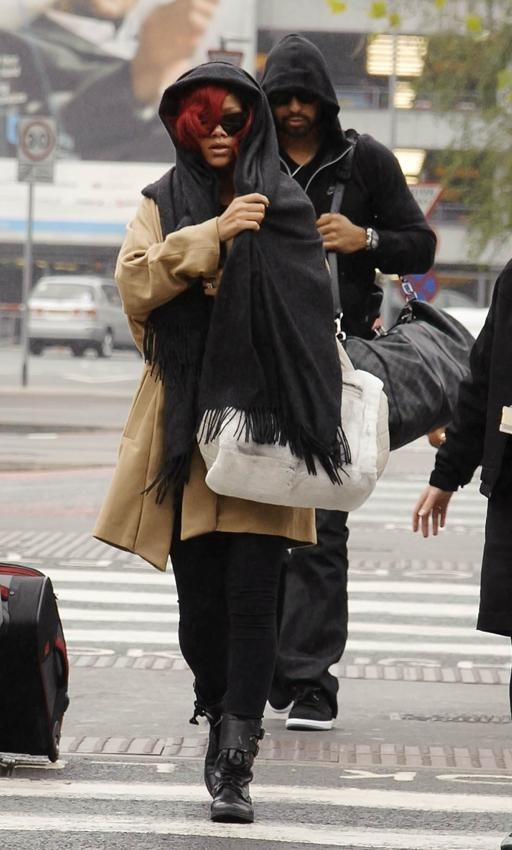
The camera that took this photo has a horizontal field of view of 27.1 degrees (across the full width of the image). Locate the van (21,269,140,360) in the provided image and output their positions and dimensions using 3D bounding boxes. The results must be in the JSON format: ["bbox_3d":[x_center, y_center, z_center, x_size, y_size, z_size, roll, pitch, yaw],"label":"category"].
[{"bbox_3d":[-1.922,-1.348,13.730,1.516,1.032,2.512,0,6,11],"label":"van"}]

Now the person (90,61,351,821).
[{"bbox_3d":[-0.066,0.008,2.514,0.589,1.733,0.383,0,-1,12],"label":"person"}]

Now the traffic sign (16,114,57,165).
[{"bbox_3d":[-2.288,-3.000,11.119,0.596,0.707,0.089,1,52,-6],"label":"traffic sign"}]

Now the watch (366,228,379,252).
[{"bbox_3d":[0.355,-0.566,3.254,0.027,0.062,0.049,0,-1,38],"label":"watch"}]

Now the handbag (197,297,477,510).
[{"bbox_3d":[0.266,-0.036,2.759,0.499,0.295,0.809,13,23,28],"label":"handbag"}]
